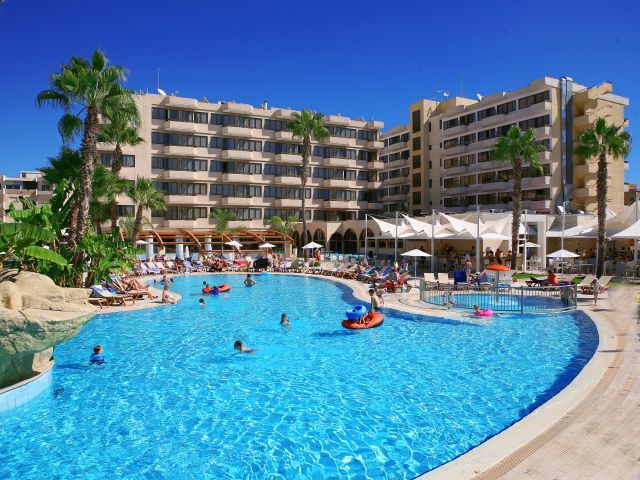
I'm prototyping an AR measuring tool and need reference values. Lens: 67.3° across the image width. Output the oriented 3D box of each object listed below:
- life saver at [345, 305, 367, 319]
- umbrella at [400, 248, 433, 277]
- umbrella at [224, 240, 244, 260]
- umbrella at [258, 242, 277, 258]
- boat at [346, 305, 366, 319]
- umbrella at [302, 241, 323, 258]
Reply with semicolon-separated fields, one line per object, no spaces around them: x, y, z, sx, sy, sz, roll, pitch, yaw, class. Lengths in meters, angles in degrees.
1.440;2.810;18.891;0.759;0.366;0.762;-8;2;23;life saver
6.530;1.784;32.984;2.368;2.019;2.332;-1;8;-17;umbrella
-8.541;1.002;47.103;2.104;1.830;2.149;5;14;10;umbrella
-5.514;0.891;49.649;1.676;1.502;1.684;5;9;27;umbrella
1.436;2.809;18.857;0.717;0.347;0.721;-6;2;26;boat
-0.885;0.966;50.042;1.756;0.847;1.688;-1;4;5;umbrella
